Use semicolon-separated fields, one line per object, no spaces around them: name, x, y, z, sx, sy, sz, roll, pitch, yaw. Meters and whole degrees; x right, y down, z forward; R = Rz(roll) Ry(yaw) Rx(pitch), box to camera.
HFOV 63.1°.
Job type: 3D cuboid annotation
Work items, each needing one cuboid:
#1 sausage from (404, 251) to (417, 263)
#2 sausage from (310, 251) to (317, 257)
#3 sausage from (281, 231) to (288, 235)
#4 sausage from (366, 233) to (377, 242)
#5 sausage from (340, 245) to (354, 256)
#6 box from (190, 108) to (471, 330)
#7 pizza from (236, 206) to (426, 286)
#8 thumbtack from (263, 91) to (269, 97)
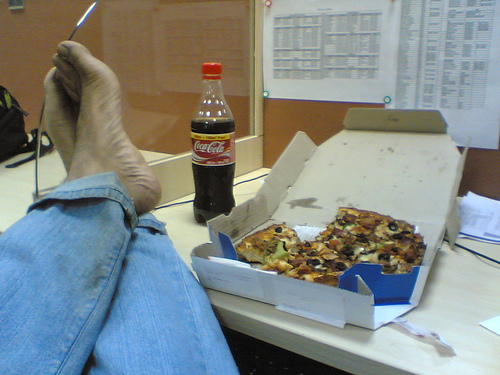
sausage;0.266;0.117;0.683;0.023;0.019;0.013;-1;11;-6
sausage;0.110;0.117;0.709;0.007;0.006;0.020;-14;-11;12
sausage;0.066;0.088;0.778;0.018;0.005;0.005;-1;18;16
sausage;0.224;0.095;0.756;0.010;0.008;0.030;-11;4;-11
sausage;0.170;0.113;0.719;0.012;0.010;0.037;-12;11;-34
box;0.189;0.011;0.784;0.419;0.195;0.532;10;26;31
pizza;0.161;0.103;0.740;0.299;0.042;0.261;-16;25;-39
thumbtack;0.049;-0.285;1.252;0.018;0.017;0.002;8;25;21
